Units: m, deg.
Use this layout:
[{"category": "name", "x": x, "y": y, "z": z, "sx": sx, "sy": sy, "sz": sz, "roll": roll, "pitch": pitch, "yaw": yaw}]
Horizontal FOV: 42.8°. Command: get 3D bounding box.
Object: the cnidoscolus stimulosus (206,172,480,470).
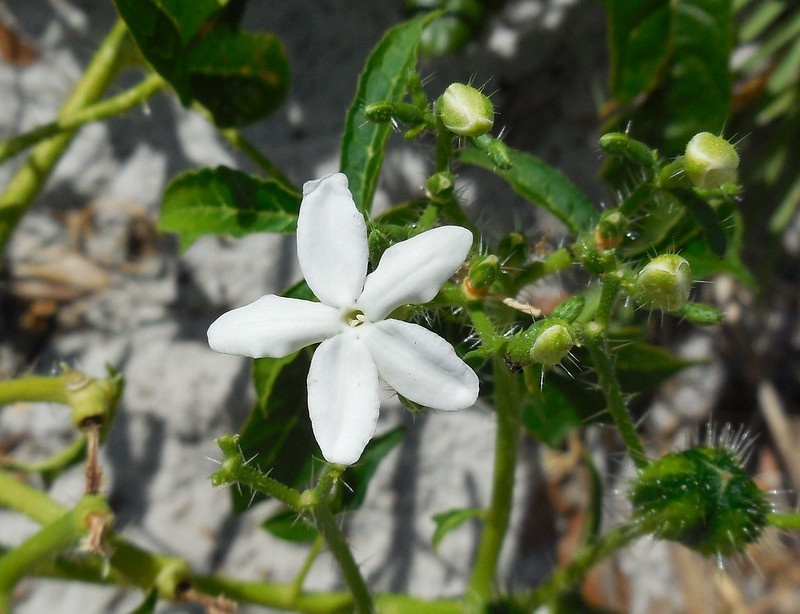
[{"category": "cnidoscolus stimulosus", "x": -0.088, "y": 0.032, "z": 1.695, "sx": 0.425, "sy": 0.122, "sz": 0.527, "roll": 9, "pitch": 54, "yaw": -3}]
